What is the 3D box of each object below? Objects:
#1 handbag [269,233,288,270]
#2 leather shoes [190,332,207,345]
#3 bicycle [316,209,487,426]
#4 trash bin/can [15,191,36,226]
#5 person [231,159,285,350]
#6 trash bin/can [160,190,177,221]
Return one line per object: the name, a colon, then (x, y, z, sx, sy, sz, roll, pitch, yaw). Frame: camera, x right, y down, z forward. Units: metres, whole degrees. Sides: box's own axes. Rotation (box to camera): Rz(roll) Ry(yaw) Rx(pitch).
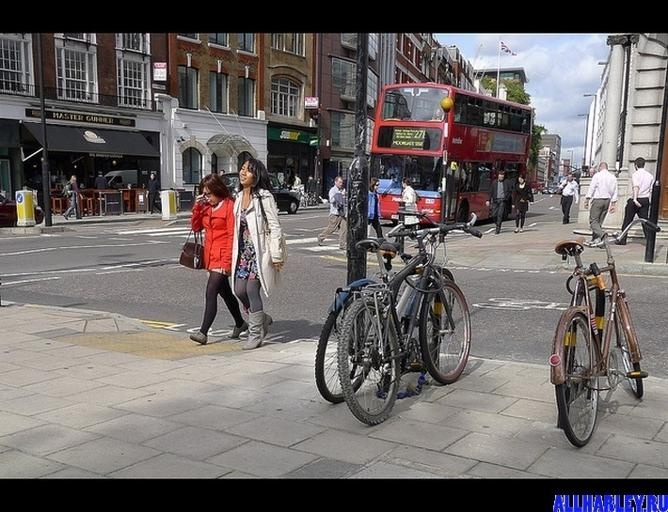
handbag: (-0.633, -0.019, 6.426, 0.140, 0.374, 0.262, 7, -8, -30)
leather shoes: (-1.560, 0.956, 6.505, 0.123, 0.116, 0.206, 6, -24, 42)
bicycle: (0.383, 0.508, 5.118, 0.965, 1.380, 2.187, 4, 12, 34)
trash bin/can: (-11.209, -1.754, 20.184, 0.562, 1.305, 0.891, -4, 8, -30)
person: (-0.884, -0.040, 6.427, 0.630, 2.180, 0.478, 0, 7, -5)
trash bin/can: (-7.479, -2.309, 25.131, 0.596, 1.325, 0.875, -3, 8, -22)
